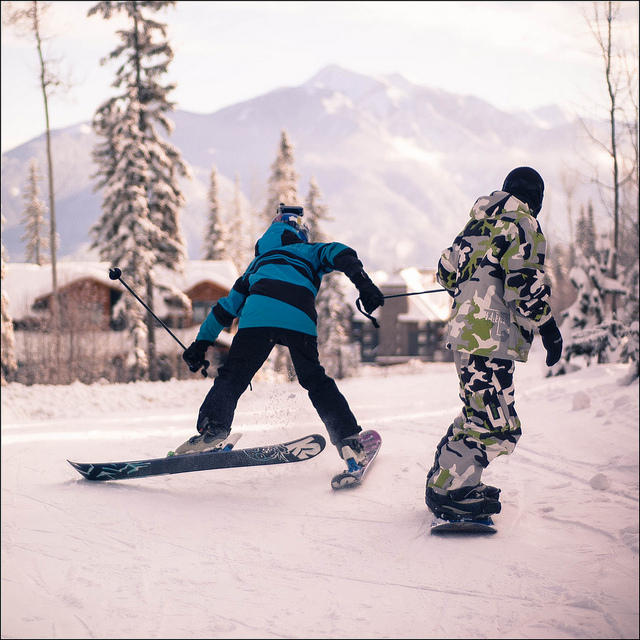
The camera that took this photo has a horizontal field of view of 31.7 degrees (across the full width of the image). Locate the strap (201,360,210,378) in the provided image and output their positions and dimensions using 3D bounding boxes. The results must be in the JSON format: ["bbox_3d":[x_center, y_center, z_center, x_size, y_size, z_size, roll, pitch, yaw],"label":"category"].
[{"bbox_3d":[-1.173,0.521,11.650,0.058,0.164,0.112,5,5,-40],"label":"strap"}]

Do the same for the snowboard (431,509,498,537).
[{"bbox_3d":[1.393,1.965,10.795,0.628,0.244,0.291,1,0,7],"label":"snowboard"}]

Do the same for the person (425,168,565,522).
[{"bbox_3d":[1.663,0.239,10.872,1.190,3.308,0.441,1,0,8],"label":"person"}]
